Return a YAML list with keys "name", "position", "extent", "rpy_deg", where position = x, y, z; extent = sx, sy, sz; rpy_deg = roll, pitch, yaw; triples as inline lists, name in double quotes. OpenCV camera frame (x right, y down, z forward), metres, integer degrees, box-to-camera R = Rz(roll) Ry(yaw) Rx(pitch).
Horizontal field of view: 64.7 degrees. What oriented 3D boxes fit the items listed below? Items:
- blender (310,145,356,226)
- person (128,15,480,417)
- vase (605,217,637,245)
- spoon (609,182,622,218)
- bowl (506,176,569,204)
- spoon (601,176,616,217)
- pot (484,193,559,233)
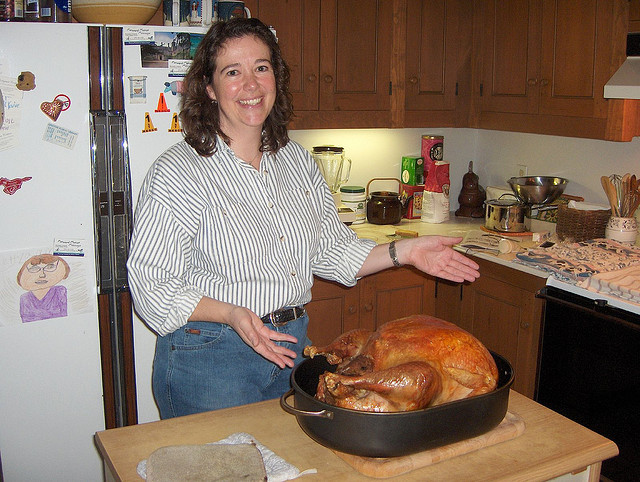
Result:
- name: "blender"
  position: [0.083, -0.337, 3.042]
  extent: [0.271, 0.466, 0.418]
  rpy_deg: [0, 15, -1]
- name: "person"
  position: [-0.131, -0.043, 1.429]
  extent: [0.744, 1.136, 0.656]
  rpy_deg: [-13, 19, -42]
- name: "vase"
  position: [1.540, -0.054, 2.584]
  extent: [0.129, 0.142, 0.138]
  rpy_deg: [2, 4, 12]
- name: "spoon"
  position: [1.514, -0.211, 2.597]
  extent: [0.041, 0.199, 0.014]
  rpy_deg: [-9, -1, 7]
- name: "bowl"
  position: [1.235, -0.285, 2.873]
  extent: [0.244, 0.141, 0.212]
  rpy_deg: [-4, 16, -16]
- name: "spoon"
  position: [1.484, -0.250, 2.605]
  extent: [0.039, 0.295, 0.038]
  rpy_deg: [-8, 2, -23]
- name: "pot"
  position: [1.144, -0.153, 2.936]
  extent: [0.395, 0.196, 0.205]
  rpy_deg: [10, 16, 38]
